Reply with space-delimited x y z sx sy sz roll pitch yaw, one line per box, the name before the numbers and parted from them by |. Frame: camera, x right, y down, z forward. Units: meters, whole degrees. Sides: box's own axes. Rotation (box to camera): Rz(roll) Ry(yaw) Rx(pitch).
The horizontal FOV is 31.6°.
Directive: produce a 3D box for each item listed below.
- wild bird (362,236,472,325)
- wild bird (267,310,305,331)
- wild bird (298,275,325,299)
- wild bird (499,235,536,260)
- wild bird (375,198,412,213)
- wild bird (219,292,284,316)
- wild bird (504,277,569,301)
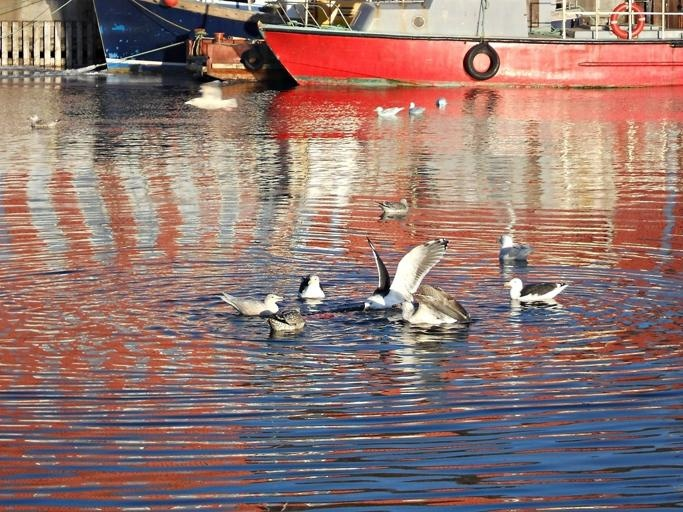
wild bird | 0.786 0.255 12.457 1.039 0.871 0.511 7 13 42
wild bird | -0.533 0.645 12.147 0.480 0.205 0.250 -4 9 -21
wild bird | -0.314 0.321 13.103 0.294 0.255 0.316 -1 9 -1
wild bird | 2.119 -0.098 14.563 0.379 0.273 0.474 0 8 5
wild bird | 0.756 -0.696 17.096 0.394 0.178 0.331 -1 8 -1
wild bird | -0.882 0.452 12.596 0.774 0.294 0.194 5 33 -1
wild bird | 2.122 0.350 13.108 0.665 0.256 0.391 0 8 5
